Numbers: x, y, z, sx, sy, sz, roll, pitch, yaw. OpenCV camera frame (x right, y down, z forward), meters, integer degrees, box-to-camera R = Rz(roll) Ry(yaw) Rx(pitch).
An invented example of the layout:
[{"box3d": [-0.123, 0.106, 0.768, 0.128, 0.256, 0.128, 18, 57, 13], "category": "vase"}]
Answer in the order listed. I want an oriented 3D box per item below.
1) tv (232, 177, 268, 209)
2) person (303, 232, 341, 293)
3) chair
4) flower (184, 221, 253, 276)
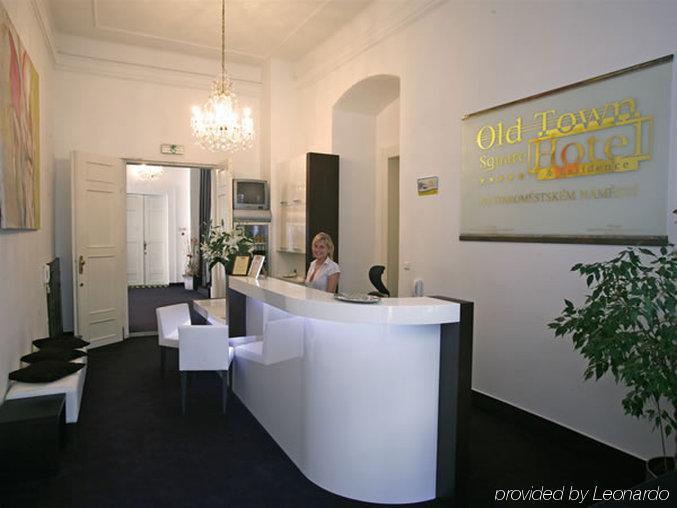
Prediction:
[{"box3d": [-1.626, -1.058, 8.865, 0.769, 0.736, 0.453, -1, 4, -31], "category": "tv"}, {"box3d": [-0.209, 0.135, 5.873, 0.417, 0.805, 1.034, -1, 8, -4], "category": "person"}, {"box3d": [-1.719, 1.148, 5.759, 0.774, 1.047, 1.736, -4, 9, -22], "category": "chair"}, {"box3d": [-2.057, -0.095, 8.119, 0.955, 0.787, 1.108, -13, 19, 11], "category": "flower"}]
